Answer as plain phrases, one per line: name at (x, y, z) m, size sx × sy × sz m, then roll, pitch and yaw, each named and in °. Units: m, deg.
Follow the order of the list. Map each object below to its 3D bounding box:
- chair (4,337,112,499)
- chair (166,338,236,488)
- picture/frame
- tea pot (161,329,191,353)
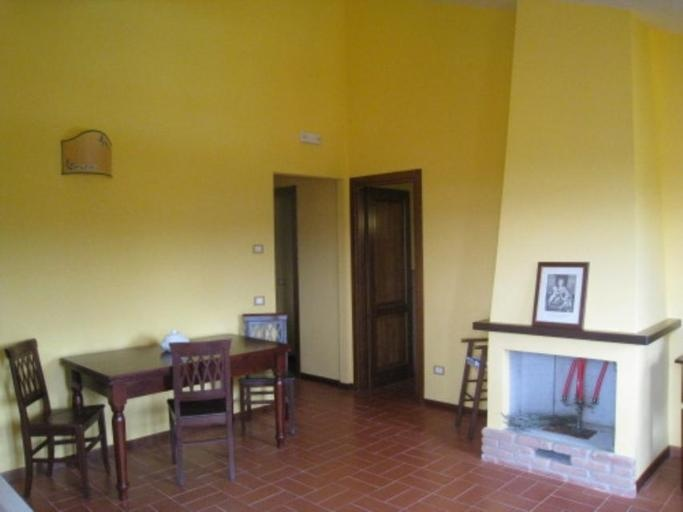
chair at (-2.315, 1.282, 4.635) m, size 0.699 × 1.190 × 0.726 m, roll -4°, pitch 7°, yaw -22°
chair at (-1.186, 1.259, 4.751) m, size 0.537 × 1.165 × 0.513 m, roll -3°, pitch 7°, yaw -14°
picture/frame at (1.796, 0.334, 4.608) m, size 0.521 × 0.705 × 0.054 m, roll 2°, pitch -5°, yaw 40°
tea pot at (-1.506, 0.757, 5.103) m, size 0.214 × 0.151 × 0.219 m, roll 0°, pitch 3°, yaw 0°
